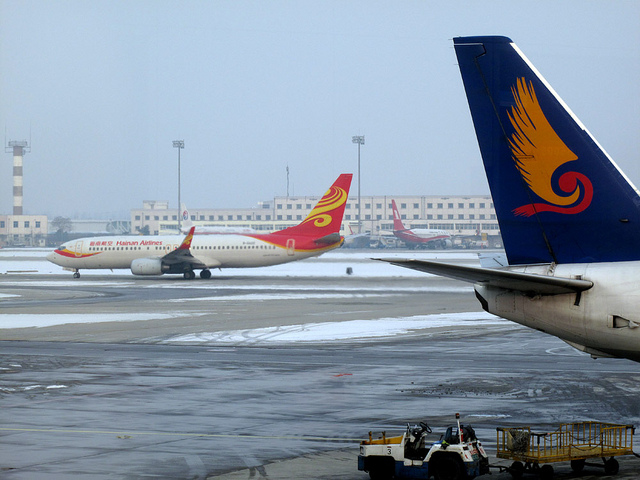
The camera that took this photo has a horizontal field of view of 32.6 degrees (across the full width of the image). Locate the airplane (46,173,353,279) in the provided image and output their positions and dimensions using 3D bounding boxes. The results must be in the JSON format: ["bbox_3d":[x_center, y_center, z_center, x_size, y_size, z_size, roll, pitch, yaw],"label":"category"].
[{"bbox_3d":[-7.642,-0.570,75.683,20.718,6.439,3.968,-3,-7,25],"label":"airplane"}]
